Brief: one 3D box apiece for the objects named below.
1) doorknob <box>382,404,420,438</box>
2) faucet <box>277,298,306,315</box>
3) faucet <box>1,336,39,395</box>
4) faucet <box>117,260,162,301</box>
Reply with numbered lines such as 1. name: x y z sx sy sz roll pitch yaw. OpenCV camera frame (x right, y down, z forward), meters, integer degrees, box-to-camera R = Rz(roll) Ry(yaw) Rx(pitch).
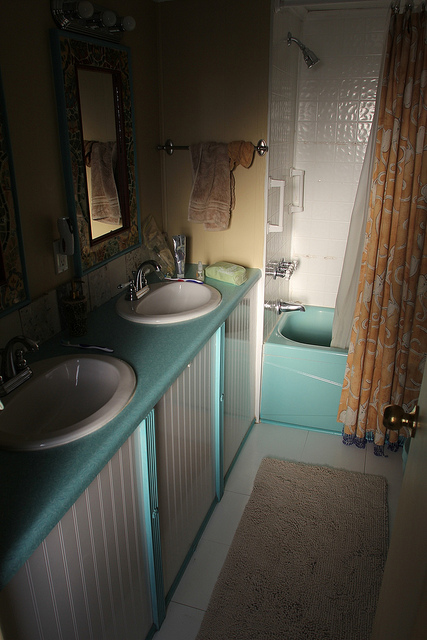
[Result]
1. doorknob: 0.298 0.172 0.687 0.060 0.060 0.052 7 -17 -14
2. faucet: 0.490 -0.110 2.707 0.158 0.118 0.112 2 12 18
3. faucet: -0.486 0.117 1.061 0.068 0.121 0.091 14 26 15
4. faucet: -0.293 -0.174 1.807 0.106 0.163 0.269 10 25 21
